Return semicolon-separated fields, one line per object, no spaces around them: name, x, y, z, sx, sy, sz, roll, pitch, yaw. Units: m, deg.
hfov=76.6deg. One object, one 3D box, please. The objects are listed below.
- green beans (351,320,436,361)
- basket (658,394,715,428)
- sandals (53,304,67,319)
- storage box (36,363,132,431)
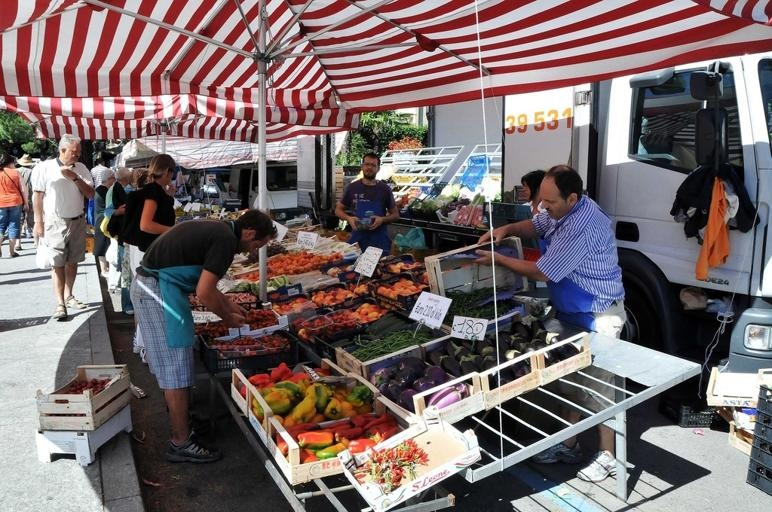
green beans;0.063;0.840;4.695;0.840;0.264;0.660;-5;12;-32
basket;3.264;1.708;5.387;0.290;0.145;0.356;-5;0;-9
sandals;-5.193;0.892;7.769;0.240;0.150;0.588;-4;4;-34
storage box;-2.902;1.351;4.735;0.506;0.364;0.674;1;7;4
